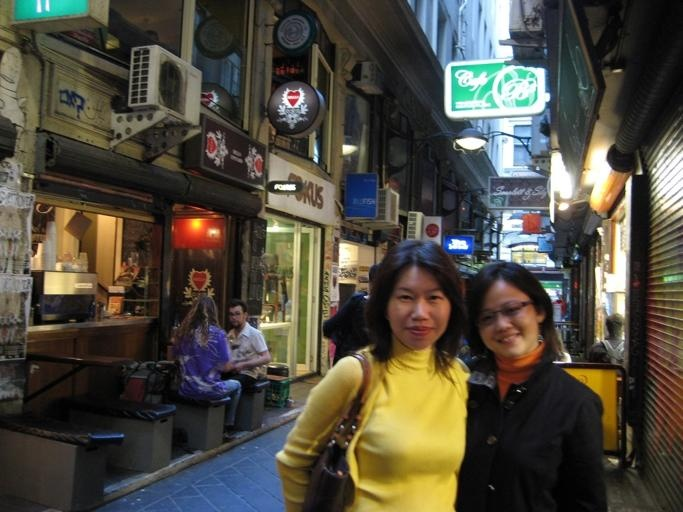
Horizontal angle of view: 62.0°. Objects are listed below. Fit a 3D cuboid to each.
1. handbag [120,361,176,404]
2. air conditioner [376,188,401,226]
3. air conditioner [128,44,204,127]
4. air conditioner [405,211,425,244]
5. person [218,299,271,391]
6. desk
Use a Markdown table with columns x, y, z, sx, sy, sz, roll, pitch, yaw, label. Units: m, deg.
| x | y | z | sx | sy | sz | roll | pitch | yaw | label |
| --- | --- | --- | --- | --- | --- | --- | --- | --- | --- |
| -2.340 | 1.464 | 6.913 | 0.564 | 0.624 | 0.439 | 7 | 22 | 3 | handbag |
| 1.099 | -1.000 | 14.145 | 0.713 | 1.075 | 1.416 | 1 | -4 | 7 | air conditioner |
| -2.140 | -2.032 | 6.986 | 0.369 | 0.767 | 1.008 | 4 | 2 | 18 | air conditioner |
| 2.433 | -1.045 | 18.702 | 0.562 | 0.878 | 1.260 | 4 | 0 | 11 | air conditioner |
| -1.486 | 1.224 | 7.819 | 0.874 | 1.170 | 0.894 | -6 | -5 | 20 | person |
| -2.951 | 1.324 | 5.878 | 0.211 | 0.515 | 1.015 | -5 | -17 | 29 | desk |
